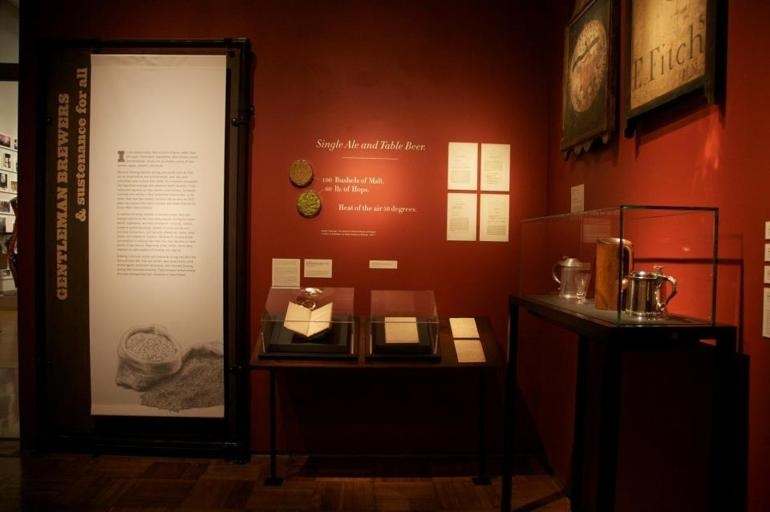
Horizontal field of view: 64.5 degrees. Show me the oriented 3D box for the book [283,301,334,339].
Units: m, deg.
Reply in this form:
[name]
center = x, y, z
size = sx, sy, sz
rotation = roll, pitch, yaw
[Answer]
[book]
center = -0.555, 0.461, 4.426
size = 0.351, 0.241, 0.081
rotation = -1, 4, -6
